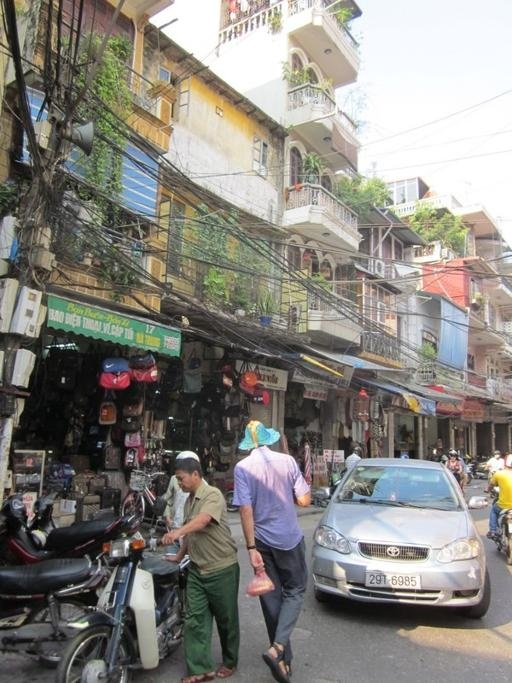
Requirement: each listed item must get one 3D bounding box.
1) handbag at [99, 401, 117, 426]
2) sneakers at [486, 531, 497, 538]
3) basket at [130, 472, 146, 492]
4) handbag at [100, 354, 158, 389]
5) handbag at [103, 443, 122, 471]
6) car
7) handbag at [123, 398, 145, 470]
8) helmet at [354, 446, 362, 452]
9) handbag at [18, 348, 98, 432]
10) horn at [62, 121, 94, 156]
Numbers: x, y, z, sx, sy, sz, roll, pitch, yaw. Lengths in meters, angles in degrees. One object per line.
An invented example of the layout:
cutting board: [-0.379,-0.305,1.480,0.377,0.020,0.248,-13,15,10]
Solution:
handbag: [-2.412,1.166,9.330,0.290,0.354,0.132,0,-14,11]
sneakers: [3.220,2.621,7.849,0.070,0.077,0.116,3,-9,3]
basket: [-1.798,2.104,8.730,0.236,0.291,0.135,-2,-27,20]
handbag: [-1.997,0.479,8.834,0.530,0.279,0.714,1,-14,-20]
handbag: [-2.326,1.887,9.301,0.308,0.377,0.136,7,-11,-27]
car: [1.237,1.588,4.772,0.932,0.744,1.710,-3,-27,17]
handbag: [-2.009,1.476,9.288,0.367,1.065,0.307,1,-10,8]
helmet: [2.908,3.061,16.337,0.197,0.210,0.279,-3,-16,9]
handbag: [-3.396,1.025,9.892,1.582,1.502,0.420,6,14,-24]
horn: [-1.890,-2.247,6.140,0.209,0.415,0.494,3,-10,-2]
